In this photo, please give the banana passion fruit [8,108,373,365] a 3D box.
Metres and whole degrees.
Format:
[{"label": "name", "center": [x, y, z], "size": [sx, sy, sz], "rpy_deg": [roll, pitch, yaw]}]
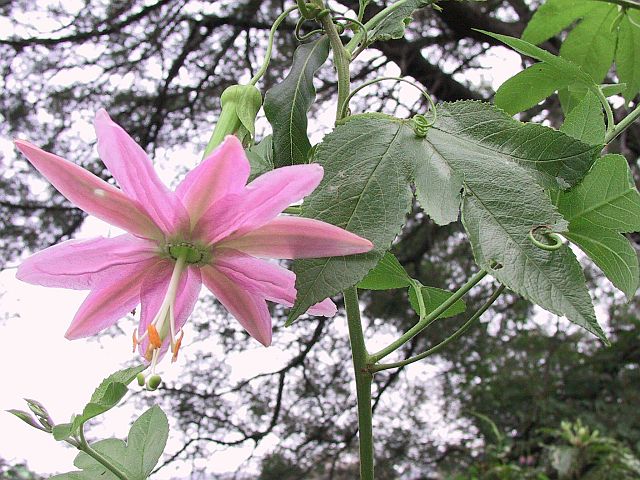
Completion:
[{"label": "banana passion fruit", "center": [-0.196, -0.042, 1.116], "size": [0.516, 0.210, 0.333], "rpy_deg": [0, -76, 0]}]
